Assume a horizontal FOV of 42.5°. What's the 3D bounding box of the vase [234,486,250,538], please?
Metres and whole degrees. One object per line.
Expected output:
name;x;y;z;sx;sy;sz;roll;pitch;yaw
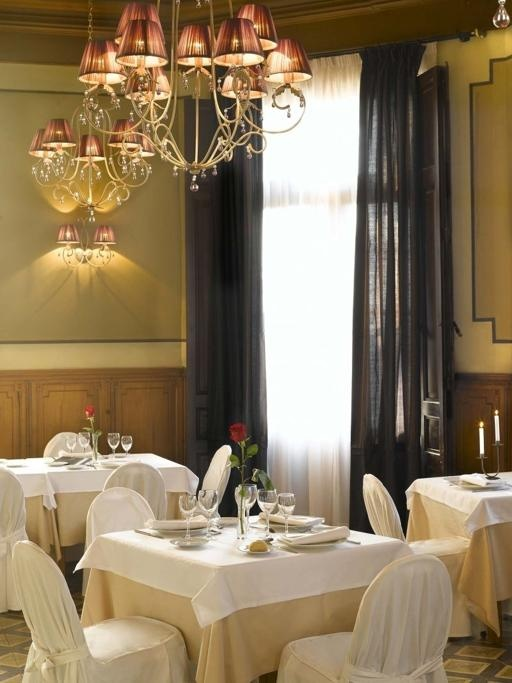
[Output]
vase;-0.055;0.656;2.470;0.046;0.198;0.063;-4;-27;9
